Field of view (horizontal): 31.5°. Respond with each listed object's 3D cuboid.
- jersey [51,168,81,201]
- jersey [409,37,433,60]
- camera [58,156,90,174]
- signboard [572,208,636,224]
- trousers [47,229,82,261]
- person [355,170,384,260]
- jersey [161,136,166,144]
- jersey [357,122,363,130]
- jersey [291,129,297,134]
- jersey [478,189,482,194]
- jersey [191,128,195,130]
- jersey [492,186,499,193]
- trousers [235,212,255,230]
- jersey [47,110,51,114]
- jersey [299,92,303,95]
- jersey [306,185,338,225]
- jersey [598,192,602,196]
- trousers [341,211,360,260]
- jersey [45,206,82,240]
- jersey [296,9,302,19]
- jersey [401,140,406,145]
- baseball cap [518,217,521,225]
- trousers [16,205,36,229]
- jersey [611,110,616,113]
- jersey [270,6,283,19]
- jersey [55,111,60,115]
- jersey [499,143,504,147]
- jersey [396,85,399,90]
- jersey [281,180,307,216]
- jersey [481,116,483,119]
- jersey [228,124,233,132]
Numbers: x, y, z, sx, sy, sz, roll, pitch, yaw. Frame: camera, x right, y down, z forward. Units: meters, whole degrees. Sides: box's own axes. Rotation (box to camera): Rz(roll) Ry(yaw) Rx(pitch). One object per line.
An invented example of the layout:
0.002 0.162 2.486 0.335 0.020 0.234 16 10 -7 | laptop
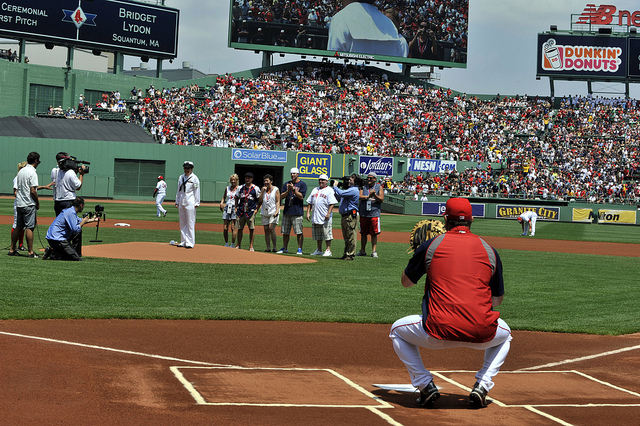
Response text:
-10.738 -1.188 47.407 1.371 1.341 0.784 11 10 16 | jersey
7.584 -12.876 87.370 1.779 2.032 0.095 0 2 -18 | jersey
-10.352 -2.021 47.321 1.010 0.506 0.631 2 1 6 | camera
19.035 0.179 76.216 4.090 0.941 0.730 2 2 6 | signboard
-10.648 1.360 47.165 1.244 2.012 1.122 2 4 -19 | trousers
2.223 0.067 51.026 1.303 3.948 1.073 0 0 10 | person
-10.931 -5.144 78.702 0.289 0.492 0.415 1 2 -20 | jersey
2.966 -6.625 84.818 0.406 0.444 0.282 1 2 -24 | jersey
-1.937 -5.956 82.118 0.226 0.334 0.514 3 2 33 | jersey
11.434 -1.602 81.427 0.310 0.319 0.177 -9 -38 -7 | jersey
-9.033 -5.960 79.536 0.131 0.183 0.179 -1 1 -3 | jersey
12.484 -1.740 81.192 0.561 0.561 0.368 -1 -3 -1 | jersey
-3.405 0.363 50.768 1.003 1.002 0.599 -1 6 6 | trousers
-18.824 -7.037 78.346 0.314 0.358 0.090 3 -36 -18 | jersey
-1.502 -9.052 84.941 0.195 0.209 0.108 3 1 8 | jersey
0.014 -0.376 50.232 1.614 1.689 0.878 2 3 35 | jersey
19.841 -1.399 80.564 0.265 0.274 0.372 2 2 13 | jersey
1.230 1.005 49.831 0.653 2.090 0.568 1 2 -11 | trousers
-10.618 0.416 47.312 1.555 1.495 1.659 0 1 -32 | jersey
-1.646 -14.948 84.172 0.650 0.682 0.109 7 8 24 | jersey
6.154 -5.336 84.510 0.340 0.343 0.519 2 2 6 | jersey
12.009 0.453 68.571 0.245 0.331 0.329 -18 -13 -10 | baseball cap
-12.315 0.122 47.166 0.892 1.023 0.613 -1 -7 23 | trousers
22.781 -7.990 88.248 0.337 0.212 0.228 2 2 13 | jersey
-3.255 -14.860 83.440 0.866 0.878 0.355 0 3 -38 | jersey
-18.201 -6.959 78.204 0.580 0.256 0.051 -1 0 -33 | jersey
13.790 -5.270 86.531 0.238 0.255 0.423 2 2 8 | jersey
6.002 -9.923 88.861 0.175 0.256 0.233 -2 0 -1 | jersey
-1.198 -0.702 50.375 1.278 1.655 0.911 -1 -5 31 | jersey
12.623 -7.556 88.859 0.124 0.209 0.227 2 2 15 | jersey
-6.460 -6.140 80.661 0.336 0.469 0.408 2 2 0 | jersey
